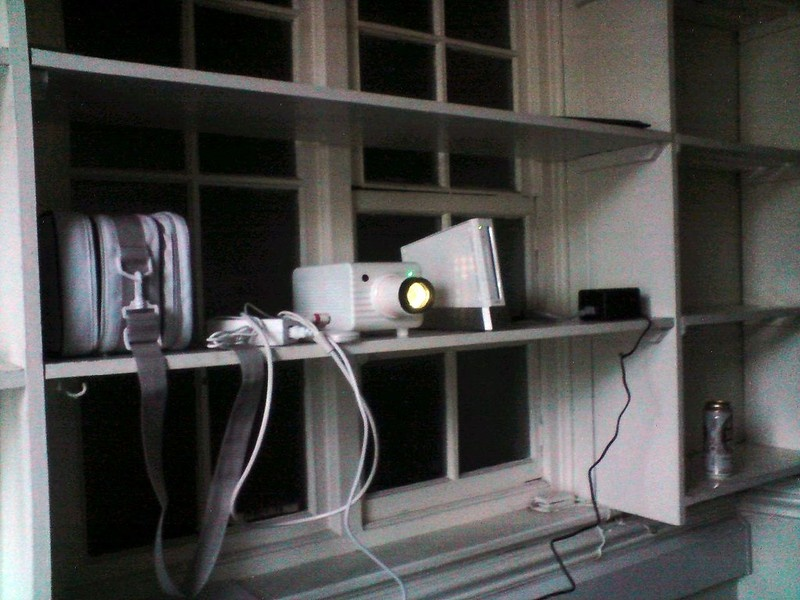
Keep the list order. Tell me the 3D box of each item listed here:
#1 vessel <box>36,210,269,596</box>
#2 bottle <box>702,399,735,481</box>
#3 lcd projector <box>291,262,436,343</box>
[{"bbox_3d":[-0.551,0.177,1.568,0.617,0.648,0.279,1,0,-32],"label":"vessel"},{"bbox_3d":[0.910,0.402,2.242,0.073,0.212,0.123,-4,2,32],"label":"bottle"},{"bbox_3d":[-0.066,-0.003,1.729,0.210,0.134,0.326,-2,1,-36],"label":"lcd projector"}]
